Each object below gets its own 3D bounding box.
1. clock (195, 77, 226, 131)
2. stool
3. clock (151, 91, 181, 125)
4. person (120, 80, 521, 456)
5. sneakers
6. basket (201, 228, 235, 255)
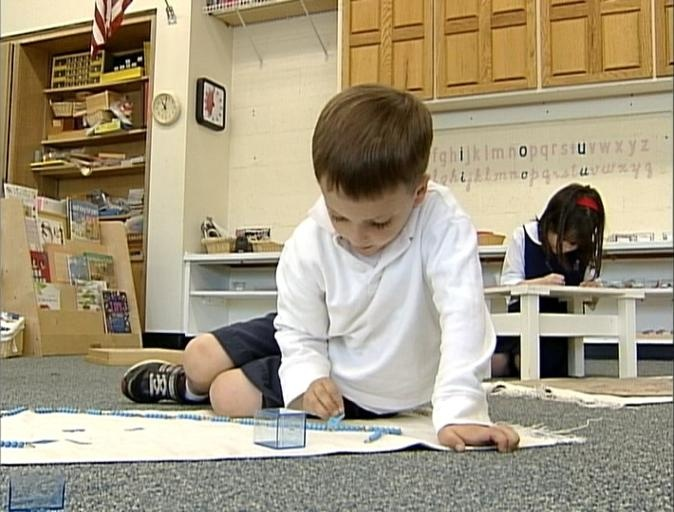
[{"bbox_3d":[-0.817,-0.994,4.812,0.027,0.300,0.281,0,-2,23],"label":"clock"},{"bbox_3d":[0.885,0.251,2.924,0.464,0.324,0.480,-1,0,-29],"label":"stool"},{"bbox_3d":[-1.078,-0.943,4.663,0.191,0.220,0.059,-3,-4,37],"label":"clock"},{"bbox_3d":[0.039,0.120,1.978,0.961,0.812,0.705,2,8,20],"label":"person"},{"bbox_3d":[-0.461,0.345,2.100,0.279,0.119,0.117,0,9,-7],"label":"sneakers"},{"bbox_3d":[-0.744,-0.097,4.589,0.154,0.082,0.132,-2,-1,7],"label":"basket"}]
